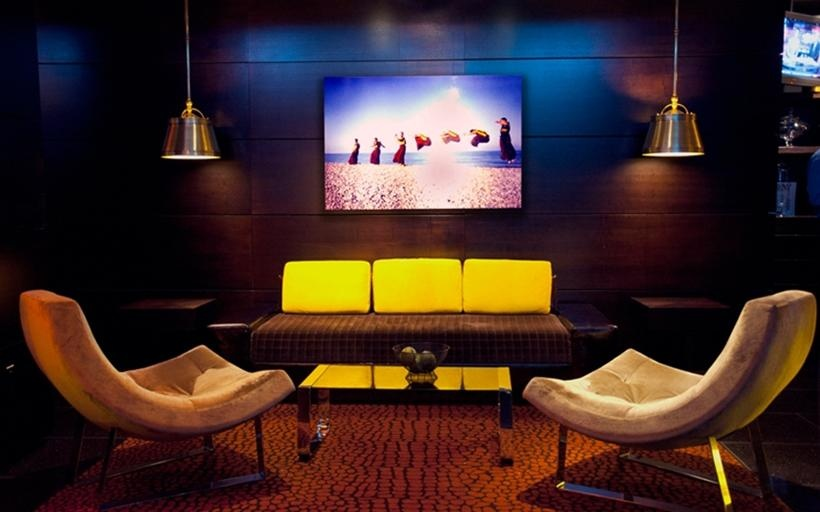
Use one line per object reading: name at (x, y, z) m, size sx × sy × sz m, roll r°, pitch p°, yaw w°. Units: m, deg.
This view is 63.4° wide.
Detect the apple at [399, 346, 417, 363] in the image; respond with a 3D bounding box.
apple at (-0.021, 0.721, 4.870) m, size 0.134 × 0.078 × 0.124 m, roll 2°, pitch -2°, yaw -25°

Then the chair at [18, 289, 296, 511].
chair at (-1.785, 0.874, 4.875) m, size 1.870 × 1.246 × 1.565 m, roll -1°, pitch 2°, yaw -31°

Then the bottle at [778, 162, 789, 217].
bottle at (3.494, -0.627, 6.249) m, size 0.117 × 0.452 × 0.293 m, roll 5°, pitch 18°, yaw 27°

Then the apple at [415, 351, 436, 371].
apple at (0.121, 0.770, 4.906) m, size 0.157 × 0.130 × 0.137 m, roll -2°, pitch 0°, yaw -15°

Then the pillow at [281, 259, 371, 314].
pillow at (-0.781, 0.281, 6.309) m, size 0.781 × 0.316 × 0.515 m, roll 0°, pitch -4°, yaw 0°

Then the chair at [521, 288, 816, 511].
chair at (1.742, 0.882, 4.851) m, size 1.933 × 1.446 × 1.505 m, roll 3°, pitch 6°, yaw 41°

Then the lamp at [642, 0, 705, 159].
lamp at (2.366, -1.483, 5.927) m, size 0.534 × 1.242 × 0.756 m, roll 4°, pitch 17°, yaw 22°

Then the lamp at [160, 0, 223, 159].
lamp at (-2.060, -1.595, 6.020) m, size 0.476 × 1.471 × 0.767 m, roll -8°, pitch 17°, yaw -15°
